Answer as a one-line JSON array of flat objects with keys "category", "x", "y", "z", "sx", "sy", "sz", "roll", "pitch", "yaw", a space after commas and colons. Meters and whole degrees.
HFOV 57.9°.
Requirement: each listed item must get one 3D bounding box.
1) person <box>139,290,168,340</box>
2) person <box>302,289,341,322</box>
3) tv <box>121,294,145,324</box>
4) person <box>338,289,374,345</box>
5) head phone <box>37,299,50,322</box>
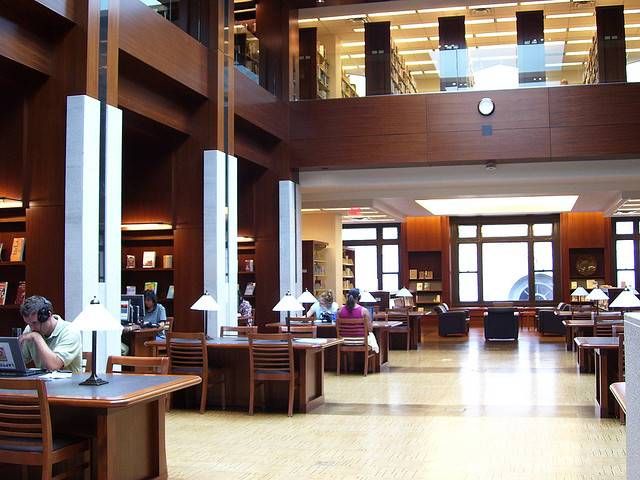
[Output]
[{"category": "person", "x": -2.642, "y": 1.172, "z": 8.932, "sx": 0.433, "sy": 0.803, "sz": 0.446, "roll": -10, "pitch": -8, "yaw": 6}, {"category": "person", "x": 0.079, "y": 1.377, "z": 11.027, "sx": 0.555, "sy": 0.797, "sz": 0.429, "roll": -8, "pitch": -9, "yaw": 16}, {"category": "tv", "x": -2.780, "y": 1.018, "z": 8.554, "sx": 0.418, "sy": 0.450, "sz": 0.222, "roll": 0, "pitch": -4, "yaw": -9}, {"category": "person", "x": 0.601, "y": 1.467, "z": 10.449, "sx": 0.863, "sy": 1.133, "sz": 0.700, "roll": 0, "pitch": -5, "yaw": 23}, {"category": "head phone", "x": -2.534, "y": 0.648, "z": 5.325, "sx": 0.059, "sy": 0.168, "sz": 0.128, "roll": -24, "pitch": -1, "yaw": 14}]
